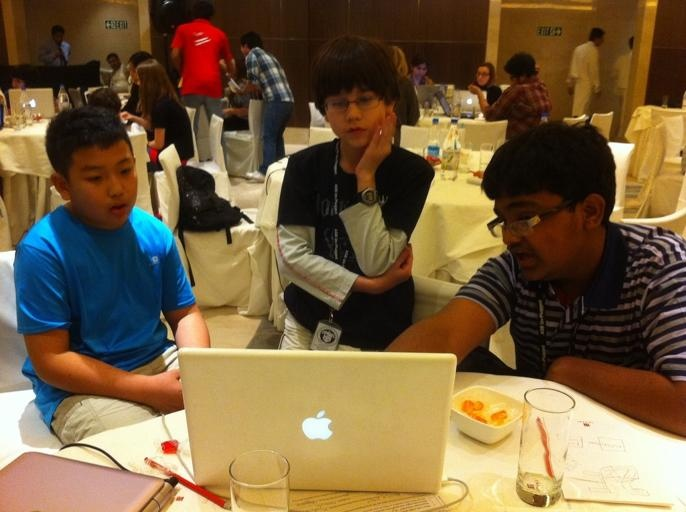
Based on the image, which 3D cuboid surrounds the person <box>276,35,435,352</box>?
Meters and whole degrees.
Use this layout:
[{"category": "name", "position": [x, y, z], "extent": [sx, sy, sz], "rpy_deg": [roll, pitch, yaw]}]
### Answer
[{"category": "person", "position": [0.005, 0.074, 2.063], "extent": [0.493, 1.652, 0.501], "rpy_deg": [6, 13, 7]}]

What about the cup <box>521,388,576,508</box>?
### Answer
[{"category": "cup", "position": [0.425, 0.394, 1.153], "extent": [0.102, 0.228, 0.131], "rpy_deg": [11, 23, 25]}]

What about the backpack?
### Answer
[{"category": "backpack", "position": [-0.881, -0.430, 3.678], "extent": [0.439, 0.499, 0.338], "rpy_deg": [7, 20, 10]}]

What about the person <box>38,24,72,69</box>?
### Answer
[{"category": "person", "position": [-5.640, -4.051, 10.517], "extent": [0.553, 0.704, 1.515], "rpy_deg": [-10, 24, -26]}]
